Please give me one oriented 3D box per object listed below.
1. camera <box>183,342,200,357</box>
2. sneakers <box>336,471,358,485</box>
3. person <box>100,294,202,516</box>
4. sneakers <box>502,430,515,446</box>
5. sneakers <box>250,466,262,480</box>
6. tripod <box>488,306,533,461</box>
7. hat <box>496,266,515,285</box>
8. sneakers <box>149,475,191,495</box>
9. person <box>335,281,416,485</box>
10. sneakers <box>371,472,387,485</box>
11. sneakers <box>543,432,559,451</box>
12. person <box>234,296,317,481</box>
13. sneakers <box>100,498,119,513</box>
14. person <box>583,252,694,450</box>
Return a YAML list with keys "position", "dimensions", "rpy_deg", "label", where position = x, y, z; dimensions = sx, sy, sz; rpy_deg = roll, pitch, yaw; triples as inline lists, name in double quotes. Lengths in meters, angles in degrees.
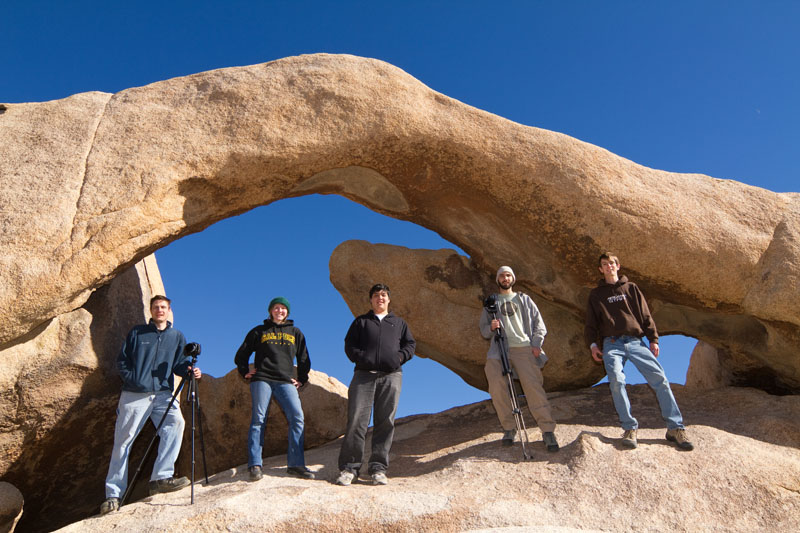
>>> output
- position: [-2.992, 1.210, 9.871]
  dimensions: [0.295, 0.205, 0.094]
  rpy_deg: [-15, -15, 34]
  label: "camera"
- position: [-0.728, 2.944, 9.549]
  dimensions: [0.332, 0.200, 0.291]
  rpy_deg: [-3, -13, -16]
  label: "sneakers"
- position: [-3.676, 1.901, 9.945]
  dimensions: [1.188, 3.027, 0.613]
  rpy_deg: [-1, -13, -25]
  label: "person"
- position: [1.622, 2.546, 10.121]
  dimensions: [0.096, 0.196, 0.295]
  rpy_deg: [3, 0, 1]
  label: "sneakers"
- position: [-2.029, 2.917, 9.670]
  dimensions: [0.175, 0.195, 0.173]
  rpy_deg: [-3, -13, -15]
  label: "sneakers"
- position: [1.647, 1.678, 10.110]
  dimensions: [0.276, 2.647, 0.579]
  rpy_deg: [-11, -8, -2]
  label: "tripod"
- position: [1.647, 0.137, 10.604]
  dimensions: [0.271, 0.243, 0.294]
  rpy_deg: [7, 23, -7]
  label: "hat"
- position: [-3.234, 3.054, 9.757]
  dimensions: [0.611, 0.276, 0.239]
  rpy_deg: [-6, -6, -9]
  label: "sneakers"
- position: [-0.359, 1.653, 9.850]
  dimensions: [1.189, 2.812, 0.339]
  rpy_deg: [-5, -12, -8]
  label: "person"
- position: [-0.276, 2.936, 9.512]
  dimensions: [0.219, 0.175, 0.218]
  rpy_deg: [-6, -12, -4]
  label: "sneakers"
- position: [2.215, 2.538, 9.970]
  dimensions: [0.215, 0.286, 0.330]
  rpy_deg: [-9, -13, 12]
  label: "sneakers"
- position: [-1.845, 1.804, 10.164]
  dimensions: [1.058, 2.675, 0.491]
  rpy_deg: [-3, -12, -14]
  label: "person"
- position: [-3.970, 3.274, 9.347]
  dimensions: [0.293, 0.189, 0.229]
  rpy_deg: [-5, -12, -8]
  label: "sneakers"
- position: [3.350, 1.200, 9.942]
  dimensions: [1.167, 2.982, 0.591]
  rpy_deg: [-9, -12, 12]
  label: "person"
